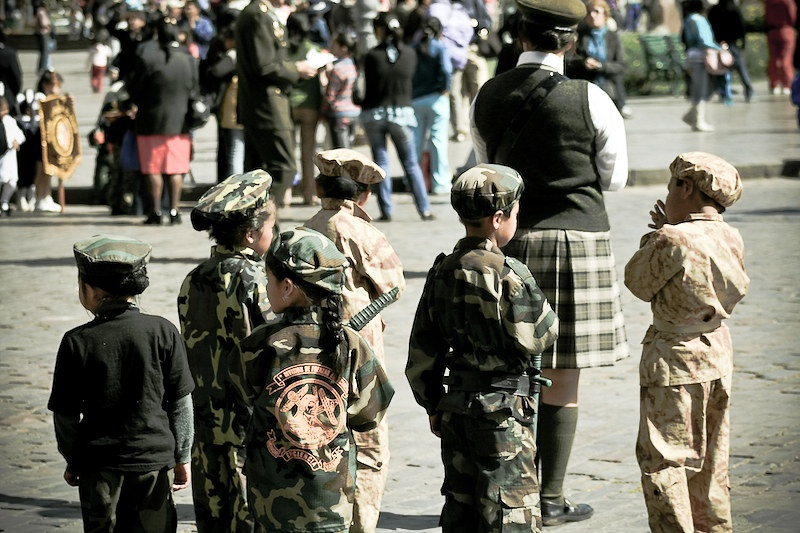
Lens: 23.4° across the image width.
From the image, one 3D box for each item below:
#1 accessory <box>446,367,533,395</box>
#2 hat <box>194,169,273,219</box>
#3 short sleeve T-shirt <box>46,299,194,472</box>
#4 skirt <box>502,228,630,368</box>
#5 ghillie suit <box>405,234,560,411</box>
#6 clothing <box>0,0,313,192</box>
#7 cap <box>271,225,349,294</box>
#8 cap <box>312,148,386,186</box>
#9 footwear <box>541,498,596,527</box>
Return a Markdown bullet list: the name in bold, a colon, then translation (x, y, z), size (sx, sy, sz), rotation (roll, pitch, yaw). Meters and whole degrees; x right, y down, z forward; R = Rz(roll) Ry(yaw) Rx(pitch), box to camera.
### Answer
- **accessory**: translation (0.779, 1.036, 17.218), size (0.759, 0.241, 0.139), rotation (-1, 3, 6)
- **hat**: translation (-1.506, -0.659, 17.427), size (0.535, 0.145, 0.454), rotation (-26, 23, -14)
- **short sleeve T-shirt**: translation (-2.482, 1.119, 17.258), size (1.781, 1.648, 0.950), rotation (-3, 4, -7)
- **skirt**: translation (1.479, 0.298, 17.769), size (1.271, 1.336, 0.804), rotation (1, 14, 15)
- **ghillie suit**: translation (0.748, 0.579, 17.525), size (1.545, 1.540, 0.855), rotation (-3, -7, 38)
- **clothing**: translation (-3.247, -2.234, 26.361), size (4.066, 0.876, 2.553), rotation (-3, 44, -13)
- **cap**: translation (-0.802, -0.077, 16.938), size (0.644, 0.339, 0.509), rotation (39, 32, 11)
- **cap**: translation (-0.486, -0.928, 18.034), size (0.452, 0.148, 0.411), rotation (20, 6, 20)
- **footwear**: translation (1.540, 2.268, 18.132), size (0.530, 0.324, 0.216), rotation (-6, 5, -25)
